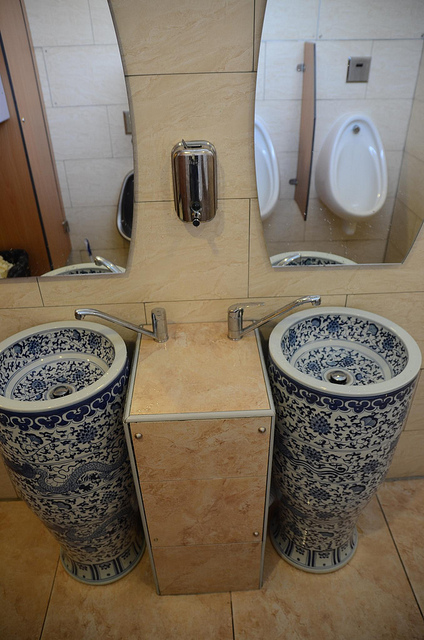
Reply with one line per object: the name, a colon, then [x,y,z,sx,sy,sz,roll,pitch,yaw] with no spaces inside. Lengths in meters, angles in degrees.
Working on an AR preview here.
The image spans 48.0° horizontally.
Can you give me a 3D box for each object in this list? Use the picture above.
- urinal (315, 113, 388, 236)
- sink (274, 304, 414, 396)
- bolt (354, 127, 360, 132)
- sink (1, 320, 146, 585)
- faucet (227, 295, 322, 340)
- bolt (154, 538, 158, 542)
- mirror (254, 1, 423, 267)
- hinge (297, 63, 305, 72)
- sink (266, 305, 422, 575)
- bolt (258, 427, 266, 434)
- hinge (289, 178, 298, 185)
urinal: [0.389,-0.358,1.291,0.205,0.333,0.177,-8,45,-3]
sink: [0.381,0.091,1.390,0.372,0.147,0.286,9,31,19]
bolt: [0.375,-0.491,1.235,0.012,0.011,0.002,-2,29,1]
sink: [-0.398,0.471,1.490,0.365,0.851,0.421,-9,30,-11]
faucet: [0.194,-0.009,1.445,0.303,0.156,0.055,-1,36,3]
bolt: [-0.160,0.631,1.369,0.010,0.017,0.001,-1,29,3]
mirror: [0.324,-0.500,1.229,0.497,0.765,0.113,-3,35,1]
hinge: [0.216,-0.611,1.162,0.019,0.016,0.002,-5,29,-5]
sink: [0.329,0.428,1.538,0.405,0.869,0.401,-3,33,-2]
bolt: [0.128,0.270,1.180,0.015,0.015,0.003,-5,21,1]
hinge: [0.222,-0.374,1.298,0.016,0.017,0.012,5,62,-2]
